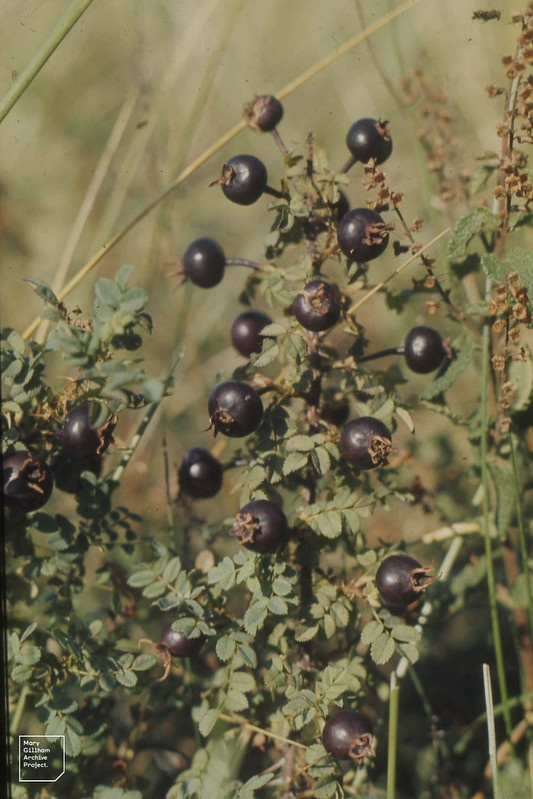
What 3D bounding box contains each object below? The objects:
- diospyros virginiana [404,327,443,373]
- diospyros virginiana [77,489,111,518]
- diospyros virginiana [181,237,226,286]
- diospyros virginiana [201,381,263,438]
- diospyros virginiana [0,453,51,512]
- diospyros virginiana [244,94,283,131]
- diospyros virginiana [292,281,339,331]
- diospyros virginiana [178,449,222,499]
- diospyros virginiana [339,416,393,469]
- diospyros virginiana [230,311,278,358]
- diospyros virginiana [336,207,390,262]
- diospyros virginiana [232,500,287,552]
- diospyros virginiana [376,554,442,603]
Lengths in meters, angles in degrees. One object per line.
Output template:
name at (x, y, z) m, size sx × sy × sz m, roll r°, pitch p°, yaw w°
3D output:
diospyros virginiana at (0.381, -0.121, 2.453) m, size 0.112 × 0.118 × 0.107 m, roll 3°, pitch 5°, yaw 8°
diospyros virginiana at (-0.418, 0.256, 2.446) m, size 0.081 × 0.059 × 0.098 m, roll -3°, pitch -26°, yaw -12°
diospyros virginiana at (-0.151, -0.334, 2.450) m, size 0.122 × 0.126 × 0.114 m, roll 1°, pitch -6°, yaw -11°
diospyros virginiana at (-0.065, 0.026, 2.295) m, size 0.120 × 0.121 × 0.156 m, roll -16°, pitch -27°, yaw 15°
diospyros virginiana at (-0.558, 0.192, 2.366) m, size 0.111 × 0.116 × 0.170 m, roll -8°, pitch -26°, yaw 0°
diospyros virginiana at (-0.010, -0.696, 2.455) m, size 0.087 × 0.092 × 0.054 m, roll 0°, pitch 12°, yaw 0°
diospyros virginiana at (0.112, -0.209, 2.253) m, size 0.103 × 0.095 × 0.116 m, roll -8°, pitch -26°, yaw -2°
diospyros virginiana at (-0.180, 0.195, 2.617) m, size 0.105 × 0.112 × 0.162 m, roll 1°, pitch -27°, yaw -20°
diospyros virginiana at (0.219, 0.095, 2.251) m, size 0.122 × 0.128 × 0.116 m, roll 0°, pitch -7°, yaw 9°
diospyros virginiana at (-0.051, -0.161, 2.556) m, size 0.135 × 0.135 × 0.121 m, roll 5°, pitch -8°, yaw -9°
diospyros virginiana at (0.226, -0.386, 2.358) m, size 0.153 × 0.121 × 0.125 m, roll 8°, pitch 22°, yaw 18°
diospyros virginiana at (-0.032, 0.261, 2.227) m, size 0.090 × 0.092 × 0.087 m, roll 3°, pitch 0°, yaw 25°
diospyros virginiana at (0.310, 0.402, 2.291) m, size 0.151 × 0.111 × 0.075 m, roll -19°, pitch -28°, yaw 21°
